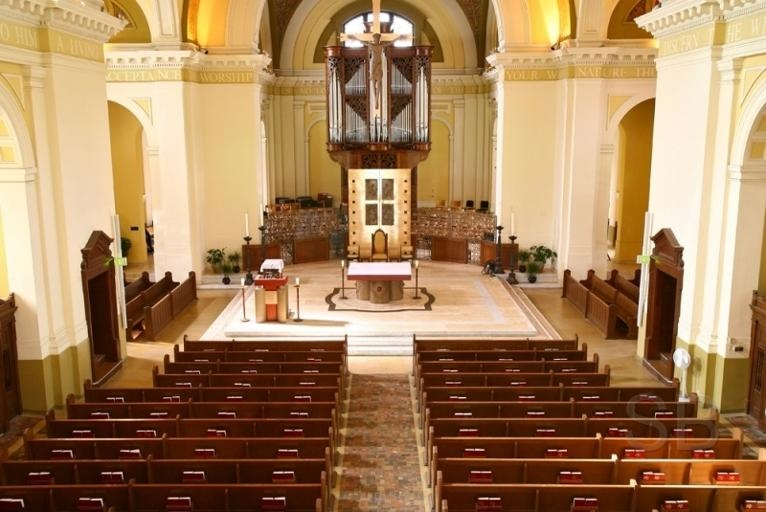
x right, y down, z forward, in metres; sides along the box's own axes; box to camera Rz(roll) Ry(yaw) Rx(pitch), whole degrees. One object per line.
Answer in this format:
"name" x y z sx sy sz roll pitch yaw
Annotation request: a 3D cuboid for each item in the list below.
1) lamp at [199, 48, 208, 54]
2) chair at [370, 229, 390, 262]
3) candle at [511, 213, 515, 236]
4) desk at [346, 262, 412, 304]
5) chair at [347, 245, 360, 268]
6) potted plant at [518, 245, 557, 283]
"lamp" -5.669 -6.555 19.084 0.138 0.183 0.459 0 13 6
"chair" -0.098 -0.406 20.025 0.612 0.927 0.774 -2 13 -1
"candle" 4.412 -1.079 20.301 0.104 0.727 0.352 5 15 26
"desk" -0.060 0.805 17.055 1.673 1.159 1.542 -1 13 5
"chair" -0.956 0.029 19.911 0.589 0.871 0.641 0 10 2
"potted plant" 5.287 0.512 20.180 1.416 1.430 1.136 4 16 9
